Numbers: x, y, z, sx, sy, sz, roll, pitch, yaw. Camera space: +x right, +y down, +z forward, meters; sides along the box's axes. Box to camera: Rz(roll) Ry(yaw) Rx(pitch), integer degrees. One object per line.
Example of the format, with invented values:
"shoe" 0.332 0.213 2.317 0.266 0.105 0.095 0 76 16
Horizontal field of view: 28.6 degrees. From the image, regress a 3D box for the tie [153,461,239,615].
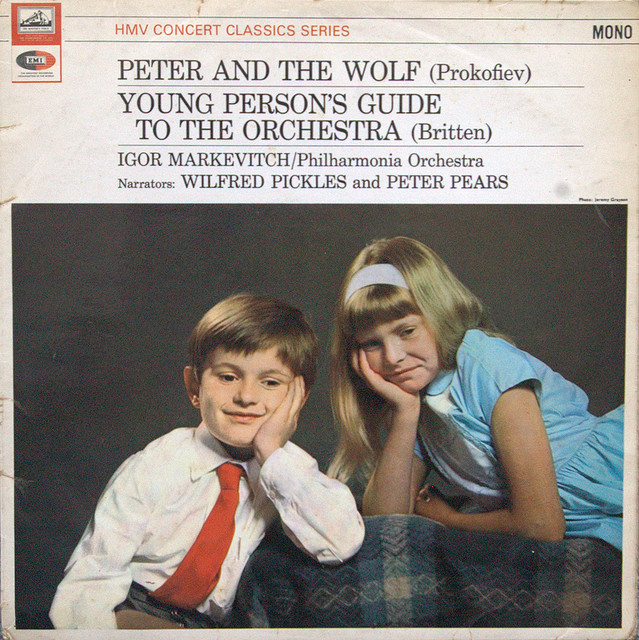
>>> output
"tie" -0.490 0.915 5.329 0.242 0.834 0.121 14 27 -8
